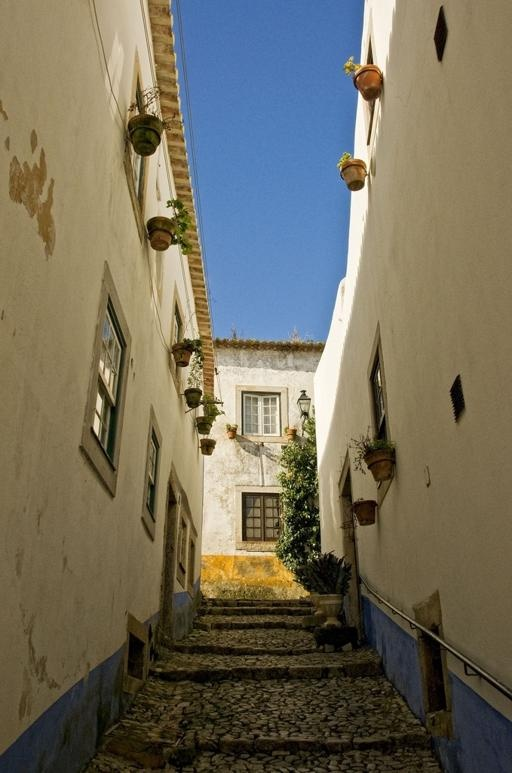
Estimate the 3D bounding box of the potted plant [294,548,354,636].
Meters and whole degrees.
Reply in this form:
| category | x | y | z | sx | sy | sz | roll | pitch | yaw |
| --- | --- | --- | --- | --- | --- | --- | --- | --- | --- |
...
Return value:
| category | x | y | z | sx | sy | sz | roll | pitch | yaw |
| --- | --- | --- | --- | --- | --- | --- | --- | --- | --- |
| potted plant | 1.106 | 3.092 | 6.902 | 0.577 | 1.045 | 0.690 | 2 | -10 | -23 |

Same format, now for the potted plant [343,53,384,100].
| category | x | y | z | sx | sy | sz | roll | pitch | yaw |
| --- | --- | --- | --- | --- | --- | --- | --- | --- | --- |
| potted plant | 1.228 | -3.384 | 5.100 | 0.322 | 0.399 | 0.237 | 0 | -10 | 0 |

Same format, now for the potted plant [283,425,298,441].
| category | x | y | z | sx | sy | sz | roll | pitch | yaw |
| --- | --- | --- | --- | --- | --- | --- | --- | --- | --- |
| potted plant | 1.080 | 1.502 | 14.535 | 0.389 | 0.410 | 0.299 | 0 | -10 | 3 |

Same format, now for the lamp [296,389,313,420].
| category | x | y | z | sx | sy | sz | roll | pitch | yaw |
| --- | --- | --- | --- | --- | --- | --- | --- | --- | --- |
| lamp | 1.524 | 0.563 | 14.832 | 0.415 | 1.003 | 0.606 | -1 | -10 | 6 |

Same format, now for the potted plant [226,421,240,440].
| category | x | y | z | sx | sy | sz | roll | pitch | yaw |
| --- | --- | --- | --- | --- | --- | --- | --- | --- | --- |
| potted plant | -0.754 | 1.402 | 14.364 | 0.332 | 0.364 | 0.332 | 20 | -31 | -40 |

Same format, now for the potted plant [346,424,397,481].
| category | x | y | z | sx | sy | sz | roll | pitch | yaw |
| --- | --- | --- | --- | --- | --- | --- | --- | --- | --- |
| potted plant | 1.289 | 0.678 | 4.966 | 0.440 | 0.508 | 0.575 | 2 | -35 | 1 |
